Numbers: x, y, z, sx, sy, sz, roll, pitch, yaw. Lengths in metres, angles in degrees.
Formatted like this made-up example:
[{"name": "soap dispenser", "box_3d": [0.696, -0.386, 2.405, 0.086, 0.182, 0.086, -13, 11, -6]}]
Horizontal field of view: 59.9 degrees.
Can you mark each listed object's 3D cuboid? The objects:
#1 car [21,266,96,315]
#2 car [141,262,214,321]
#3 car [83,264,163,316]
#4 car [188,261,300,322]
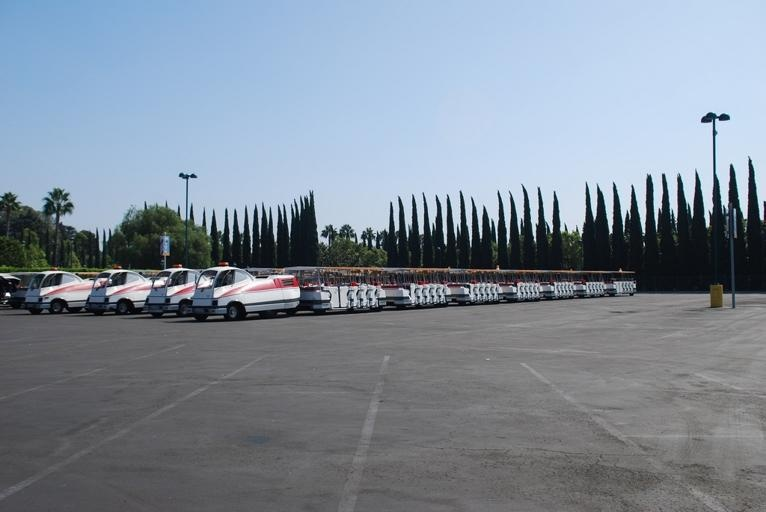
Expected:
[{"name": "car", "box_3d": [-17.158, 1.910, 35.829, 2.190, 2.053, 3.658, -2, -2, 31]}, {"name": "car", "box_3d": [-9.990, 1.572, 32.858, 2.259, 2.241, 3.624, -2, 3, 24]}, {"name": "car", "box_3d": [-13.380, 1.782, 34.491, 2.190, 1.881, 3.695, -1, 0, 29]}, {"name": "car", "box_3d": [-6.204, 1.604, 29.393, 2.300, 1.830, 3.907, -4, -5, 43]}]
